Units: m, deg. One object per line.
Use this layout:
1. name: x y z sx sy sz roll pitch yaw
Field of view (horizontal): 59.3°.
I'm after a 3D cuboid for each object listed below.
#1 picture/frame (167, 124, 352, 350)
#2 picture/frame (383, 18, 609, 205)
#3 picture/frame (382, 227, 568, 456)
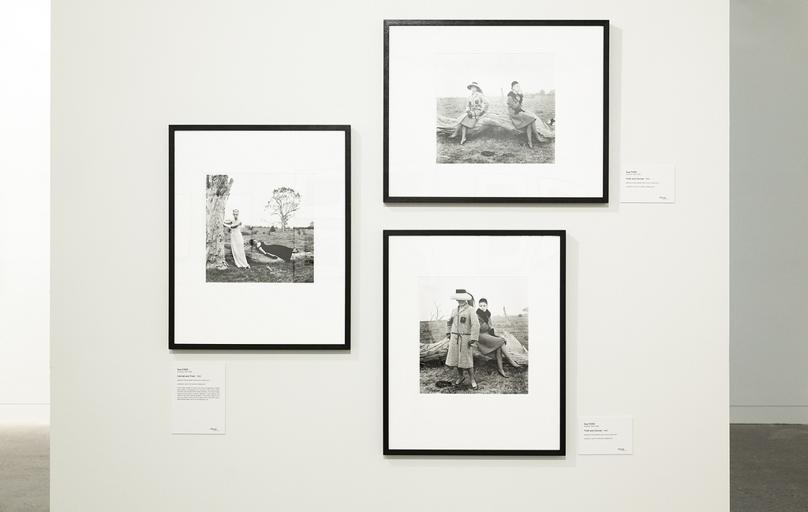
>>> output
1. picture/frame: -0.481 -0.064 2.423 0.833 0.930 0.035 0 -2 0
2. picture/frame: 0.334 -0.505 2.416 0.683 0.486 0.026 0 -2 0
3. picture/frame: 0.256 0.302 2.413 0.833 0.961 0.036 0 -2 0
